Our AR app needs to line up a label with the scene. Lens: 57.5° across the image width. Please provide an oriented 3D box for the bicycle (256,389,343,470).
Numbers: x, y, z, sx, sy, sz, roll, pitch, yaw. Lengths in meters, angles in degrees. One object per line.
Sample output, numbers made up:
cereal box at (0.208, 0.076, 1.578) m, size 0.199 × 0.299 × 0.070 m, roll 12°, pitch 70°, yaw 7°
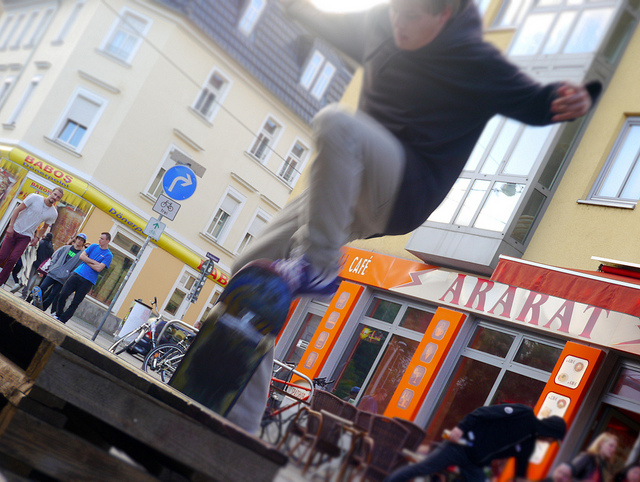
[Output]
bicycle at (-0.189, 1.823, 5.582) m, size 0.383 × 0.747 × 0.492 m, roll 29°, pitch -36°, yaw -11°

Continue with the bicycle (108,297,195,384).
bicycle at (-2.520, 1.353, 8.751) m, size 0.594 × 0.897 × 1.346 m, roll 23°, pitch -11°, yaw -17°

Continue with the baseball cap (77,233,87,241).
baseball cap at (-4.426, -0.078, 10.751) m, size 0.168 × 0.124 × 0.239 m, roll 39°, pitch -5°, yaw -8°

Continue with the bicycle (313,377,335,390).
bicycle at (-0.016, 2.585, 10.672) m, size 0.262 × 0.176 × 0.432 m, roll 0°, pitch -9°, yaw 30°

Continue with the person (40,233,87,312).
person at (-4.365, 0.560, 9.833) m, size 0.685 × 1.982 × 0.573 m, roll 9°, pitch -34°, yaw -33°

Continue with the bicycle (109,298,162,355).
bicycle at (-2.730, 1.392, 8.548) m, size 0.499 × 0.723 × 1.397 m, roll 28°, pitch -12°, yaw -21°

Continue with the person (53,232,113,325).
person at (-3.909, 0.605, 9.679) m, size 0.529 × 1.559 × 0.748 m, roll 27°, pitch -13°, yaw -27°
